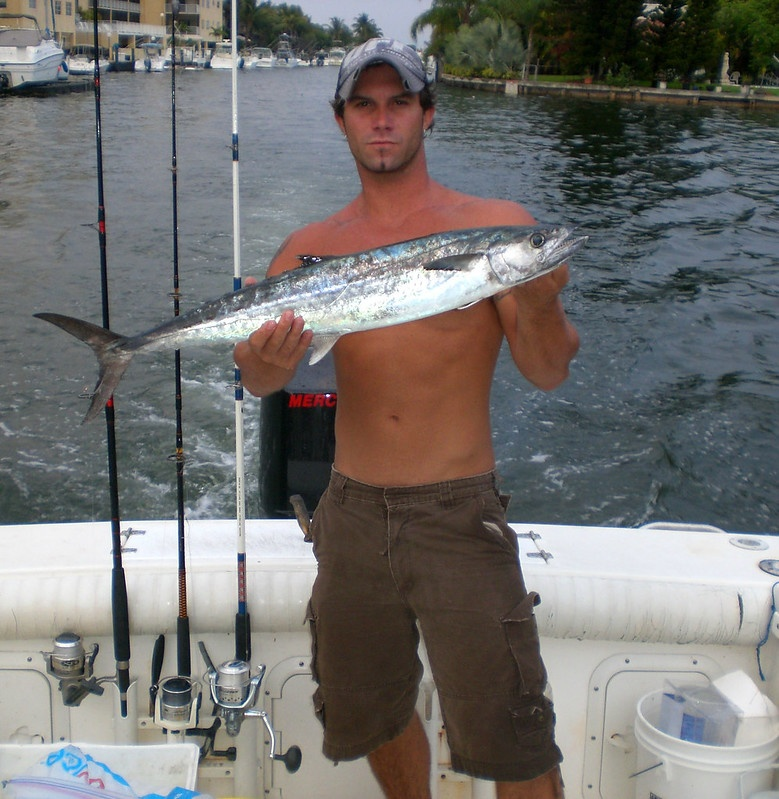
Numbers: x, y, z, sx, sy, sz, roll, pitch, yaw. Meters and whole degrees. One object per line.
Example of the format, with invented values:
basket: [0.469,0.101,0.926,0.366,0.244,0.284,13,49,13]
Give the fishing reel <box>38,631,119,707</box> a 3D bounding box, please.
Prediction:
fishing reel: [-1.168,1.011,4.177,0.242,0.226,0.223,-6,-8,5]

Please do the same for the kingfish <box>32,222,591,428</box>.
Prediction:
kingfish: [-0.203,-0.285,3.842,1.690,0.623,0.288,2,14,8]
